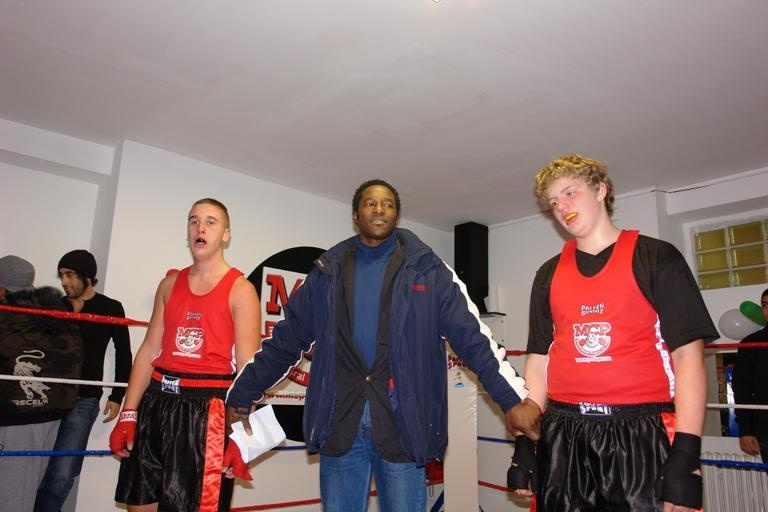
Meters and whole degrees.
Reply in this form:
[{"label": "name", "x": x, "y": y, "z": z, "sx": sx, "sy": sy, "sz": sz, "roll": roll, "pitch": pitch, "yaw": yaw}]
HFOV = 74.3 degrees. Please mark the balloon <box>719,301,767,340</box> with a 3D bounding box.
[{"label": "balloon", "x": 3.549, "y": 0.654, "z": 5.020, "sx": 0.210, "sy": 0.264, "sz": 0.496, "roll": 25, "pitch": -14, "yaw": -4}]
